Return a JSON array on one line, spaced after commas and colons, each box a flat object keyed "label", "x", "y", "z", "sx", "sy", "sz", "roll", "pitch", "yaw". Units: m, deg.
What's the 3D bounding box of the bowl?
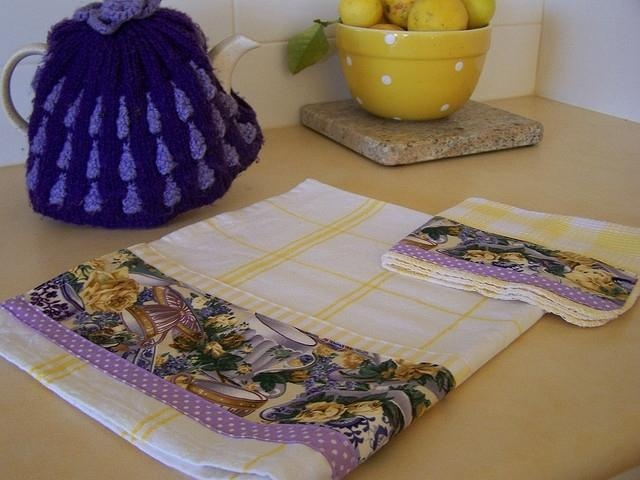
[{"label": "bowl", "x": 0.193, "y": -0.305, "z": 0.983, "sx": 0.316, "sy": 0.138, "sz": 0.261, "roll": 5, "pitch": 30, "yaw": 18}]
